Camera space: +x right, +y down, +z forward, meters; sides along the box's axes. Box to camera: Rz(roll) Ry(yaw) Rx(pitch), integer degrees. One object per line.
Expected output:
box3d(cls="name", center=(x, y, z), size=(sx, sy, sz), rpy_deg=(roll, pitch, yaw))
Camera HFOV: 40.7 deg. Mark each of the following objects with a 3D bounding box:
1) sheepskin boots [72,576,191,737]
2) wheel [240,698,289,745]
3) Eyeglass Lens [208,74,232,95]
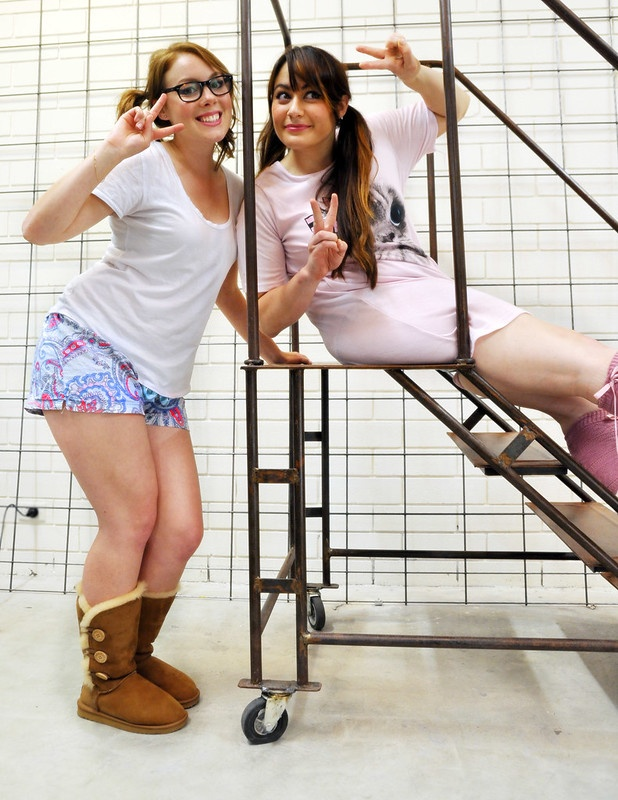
box3d(cls="sheepskin boots", center=(-0.394, 0.554, 1.820), size=(0.180, 0.305, 0.221), rpy_deg=(-5, 7, -40))
box3d(cls="wheel", center=(-0.090, 0.667, 1.724), size=(0.083, 0.077, 0.029), rpy_deg=(33, 1, -15))
box3d(cls="Eyeglass Lens", center=(-0.193, -0.674, 1.796), size=(0.052, 0.018, 0.053), rpy_deg=(28, 44, 35))
